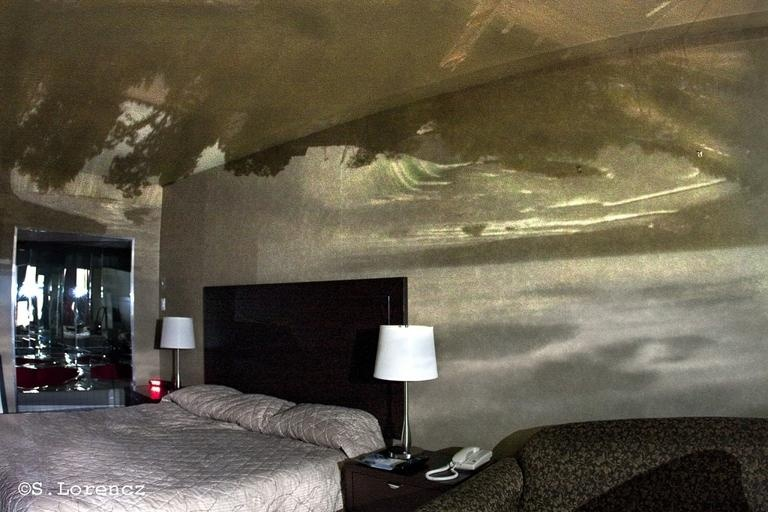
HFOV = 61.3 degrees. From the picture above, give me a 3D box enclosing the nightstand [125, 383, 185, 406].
[{"bbox_3d":[-2.475,1.499,7.036,0.292,0.276,0.530,0,1,-41],"label":"nightstand"}]
